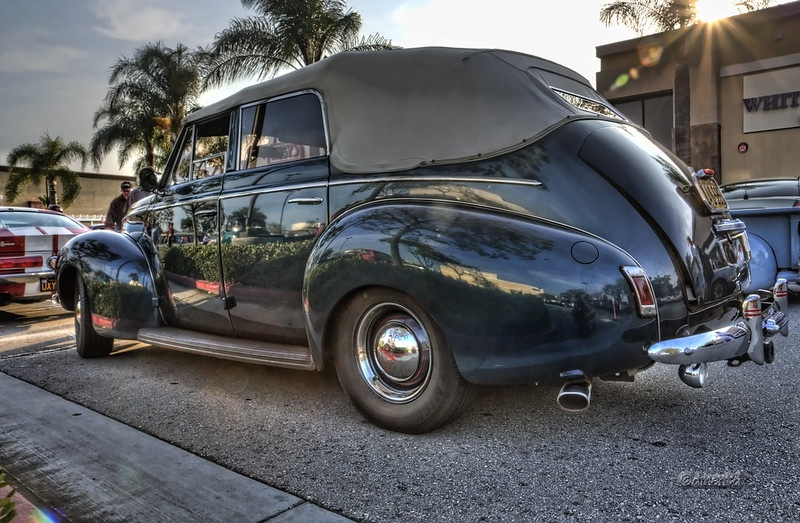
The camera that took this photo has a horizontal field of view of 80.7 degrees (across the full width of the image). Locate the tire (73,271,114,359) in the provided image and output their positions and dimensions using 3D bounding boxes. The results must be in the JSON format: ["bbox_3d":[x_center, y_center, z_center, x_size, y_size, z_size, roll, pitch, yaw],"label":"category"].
[{"bbox_3d":[-3.832,0.647,5.874,0.365,1.022,1.003,-4,3,-29],"label":"tire"}]

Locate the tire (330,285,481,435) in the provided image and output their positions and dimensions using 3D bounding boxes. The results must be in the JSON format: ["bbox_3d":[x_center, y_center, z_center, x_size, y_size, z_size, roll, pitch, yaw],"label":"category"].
[{"bbox_3d":[0.056,0.687,3.370,1.079,1.116,0.408,0,7,33],"label":"tire"}]
